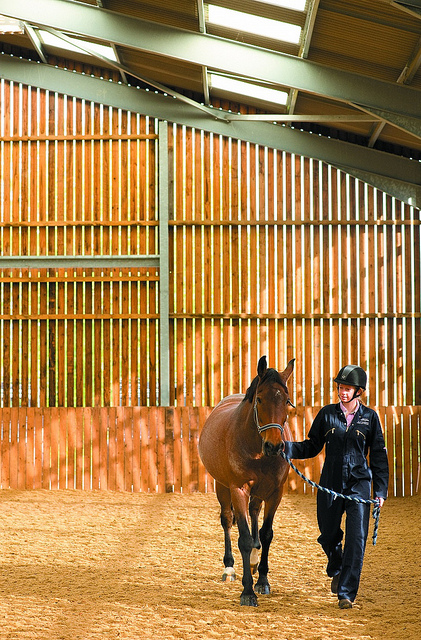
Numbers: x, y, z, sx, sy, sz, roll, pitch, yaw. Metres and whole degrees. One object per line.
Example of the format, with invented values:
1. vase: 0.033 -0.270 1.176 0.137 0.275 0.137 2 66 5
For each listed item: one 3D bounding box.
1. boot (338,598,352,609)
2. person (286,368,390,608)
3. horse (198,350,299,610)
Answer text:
1. boot: 1.178 2.486 11.488 0.119 0.123 0.114 1 4 10
2. person: 1.153 1.471 11.461 0.780 2.102 0.523 1 4 7
3. horse: 0.341 1.384 12.220 0.711 2.226 1.874 0 4 -5
